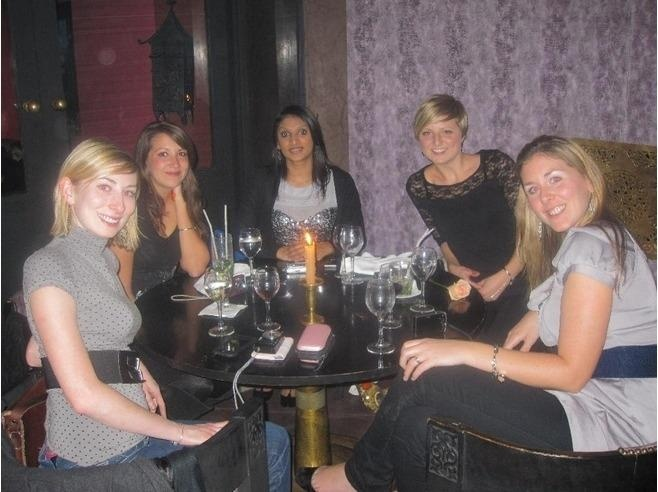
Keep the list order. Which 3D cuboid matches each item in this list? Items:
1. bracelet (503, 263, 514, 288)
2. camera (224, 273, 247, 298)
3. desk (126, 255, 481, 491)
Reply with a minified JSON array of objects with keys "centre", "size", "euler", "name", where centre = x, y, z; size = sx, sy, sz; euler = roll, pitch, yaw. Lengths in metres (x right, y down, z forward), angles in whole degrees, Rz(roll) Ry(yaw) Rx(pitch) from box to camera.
[{"centre":[0.963,0.153,3.084],"size":[0.086,0.116,0.045],"euler":[11,-18,-19],"name":"bracelet"},{"centre":[-0.415,0.177,2.624],"size":[0.071,0.030,0.087],"euler":[6,24,-1],"name":"camera"},{"centre":[-0.218,0.305,2.495],"size":[0.960,0.646,0.980],"euler":[1,10,5],"name":"desk"}]
